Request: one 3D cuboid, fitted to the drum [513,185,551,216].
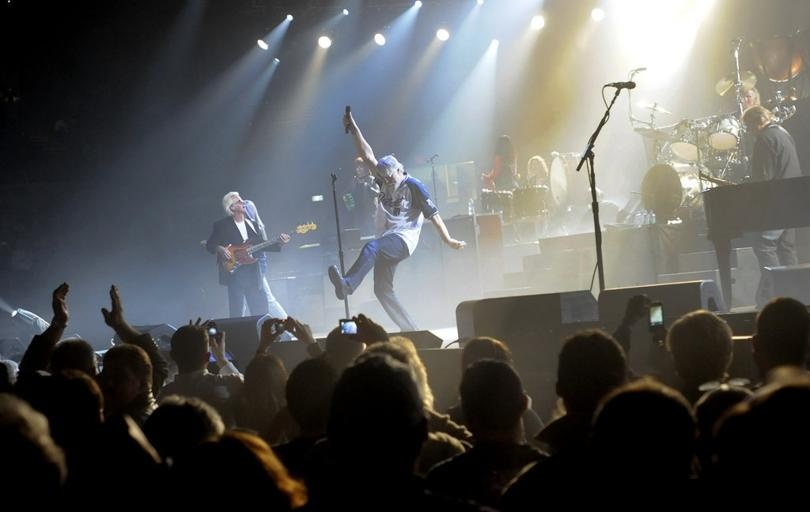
[{"bbox_3d":[2.392,-1.002,12.379,0.607,0.412,0.586,0,-6,0],"label":"drum"}]

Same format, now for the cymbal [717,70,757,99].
[{"bbox_3d":[6.321,-3.272,12.571,0.588,0.163,0.569,30,-51,-22],"label":"cymbal"}]

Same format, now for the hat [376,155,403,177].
[{"bbox_3d":[-0.228,-1.247,9.340,0.263,0.291,0.378,-43,10,29],"label":"hat"}]

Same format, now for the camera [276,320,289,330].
[{"bbox_3d":[-1.290,0.718,6.837,0.112,0.102,0.028,-36,-39,28],"label":"camera"}]

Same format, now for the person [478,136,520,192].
[{"bbox_3d":[2.133,-1.959,14.495,0.560,1.291,1.221,-4,-5,-10],"label":"person"}]

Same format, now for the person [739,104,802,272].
[{"bbox_3d":[5.268,-1.025,9.383,0.723,2.361,0.916,-8,-6,29],"label":"person"}]

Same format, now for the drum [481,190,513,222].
[{"bbox_3d":[1.856,-0.986,12.887,0.264,0.650,0.928,-2,-6,-30],"label":"drum"}]

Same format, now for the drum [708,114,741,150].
[{"bbox_3d":[5.488,-2.091,11.276,0.452,0.585,0.599,-8,-6,36],"label":"drum"}]

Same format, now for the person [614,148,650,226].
[{"bbox_3d":[4.948,-1.513,14.199,0.688,1.879,1.410,-3,19,11],"label":"person"}]

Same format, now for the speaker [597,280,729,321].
[{"bbox_3d":[3.041,0.473,7.501,0.741,0.314,0.724,7,-13,-44],"label":"speaker"}]
